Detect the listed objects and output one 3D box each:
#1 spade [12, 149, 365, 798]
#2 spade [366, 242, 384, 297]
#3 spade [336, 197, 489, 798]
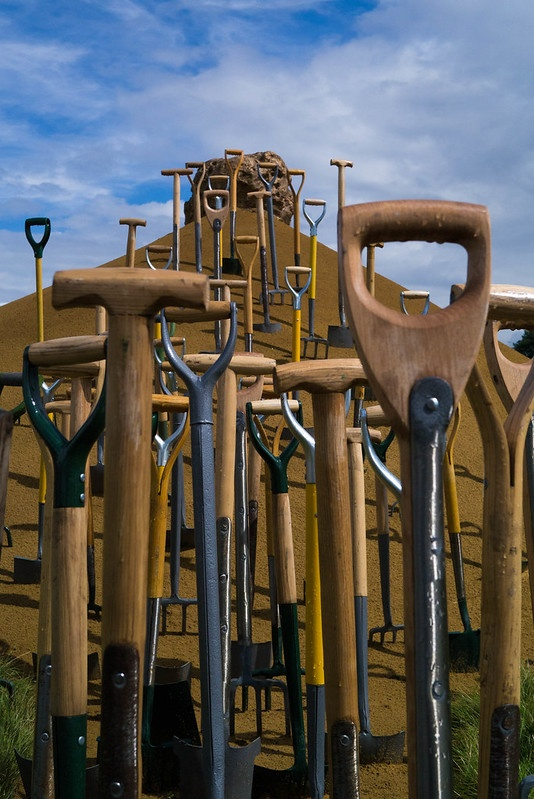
[{"bbox_3d":[-0.177,0.325,3.163,0.874,1.254,0.567,6,-11,-40],"label":"spade"},{"bbox_3d":[0.615,-0.767,7.601,0.111,0.340,0.105,2,1,-13],"label":"spade"},{"bbox_3d":[0.308,0.184,2.617,0.261,1.220,0.246,-6,-9,32],"label":"spade"}]
